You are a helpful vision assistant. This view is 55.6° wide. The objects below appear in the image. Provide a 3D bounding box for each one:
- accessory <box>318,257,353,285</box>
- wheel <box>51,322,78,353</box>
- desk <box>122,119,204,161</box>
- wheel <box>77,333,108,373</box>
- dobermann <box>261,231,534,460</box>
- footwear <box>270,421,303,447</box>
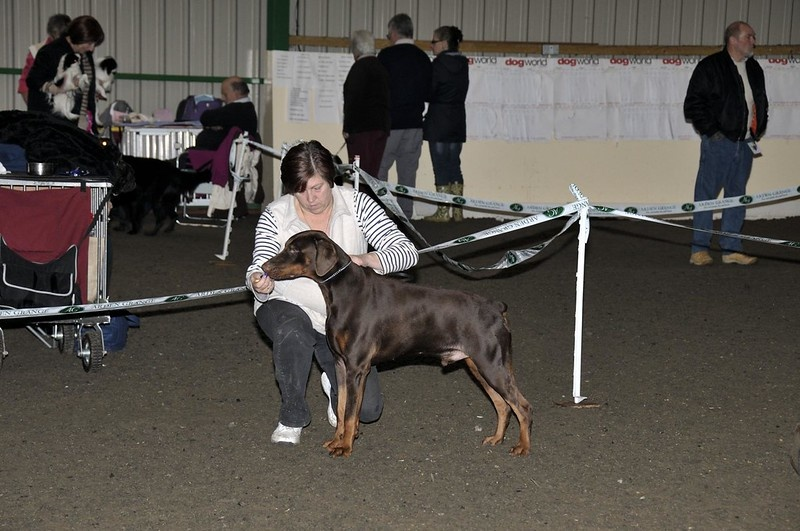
[{"bbox_3d":[-0.426,0.045,5.009,0.164,0.038,0.130,-43,9,-8],"label":"accessory"},{"bbox_3d":[-2.870,0.613,6.502,0.143,0.220,0.218,2,58,-28],"label":"wheel"},{"bbox_3d":[-4.115,-2.116,12.869,1.728,0.772,0.878,0,17,-14],"label":"desk"},{"bbox_3d":[-2.575,0.734,6.319,0.157,0.241,0.240,-1,45,-33],"label":"wheel"},{"bbox_3d":[-0.033,0.553,5.202,1.835,1.452,0.579,2,0,-11],"label":"dobermann"},{"bbox_3d":[-0.796,1.188,5.330,0.163,0.152,0.348,2,-6,-6],"label":"footwear"}]
